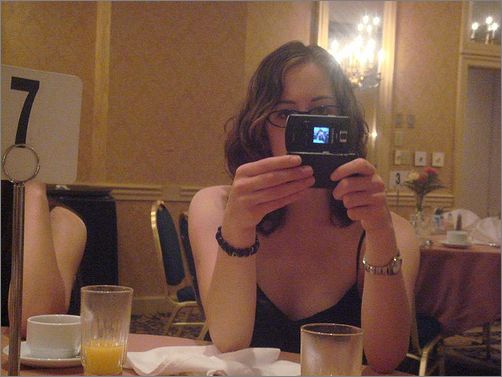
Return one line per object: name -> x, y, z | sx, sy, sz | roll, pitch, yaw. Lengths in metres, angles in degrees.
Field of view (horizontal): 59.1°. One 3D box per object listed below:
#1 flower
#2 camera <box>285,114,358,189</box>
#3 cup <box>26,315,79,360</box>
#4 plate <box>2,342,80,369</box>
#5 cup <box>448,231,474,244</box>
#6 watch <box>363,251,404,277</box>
flower -> 1.457, -0.013, 3.789 | 0.391, 0.477, 0.459 | 1, -1, 25
camera -> 0.175, -0.093, 1.114 | 0.174, 0.181, 0.088 | 1, 1, 14
cup -> -0.439, 0.315, 0.976 | 0.088, 0.065, 0.105 | 2, -10, -11
plate -> -0.456, 0.374, 0.974 | 0.110, 0.020, 0.112 | 4, -3, -4
cup -> 1.294, 0.294, 2.703 | 0.105, 0.065, 0.100 | -4, -1, 0
watch -> 0.396, 0.231, 1.334 | 0.072, 0.084, 0.078 | -1, 1, 14
